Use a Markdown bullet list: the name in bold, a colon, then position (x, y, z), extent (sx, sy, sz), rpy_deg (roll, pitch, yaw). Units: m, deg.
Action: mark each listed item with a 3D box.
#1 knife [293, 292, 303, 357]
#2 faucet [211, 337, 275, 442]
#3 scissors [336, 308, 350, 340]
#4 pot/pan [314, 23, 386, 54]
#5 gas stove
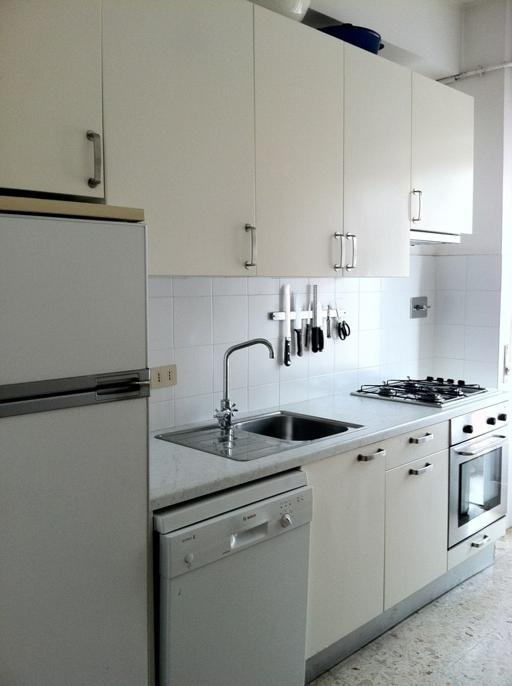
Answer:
- **knife**: position (0.195, -0.074, 2.477), extent (0.039, 0.273, 0.063), rpy_deg (11, 12, 41)
- **faucet**: position (-0.047, 0.148, 2.075), extent (0.200, 0.351, 0.604), rpy_deg (5, 11, 7)
- **scissors**: position (0.431, -0.083, 2.699), extent (0.044, 0.150, 0.073), rpy_deg (-15, -6, 44)
- **pot/pan**: position (0.399, -1.228, 2.227), extent (0.193, 0.103, 0.160), rpy_deg (14, 22, -2)
- **gas stove**: position (0.829, 0.234, 2.763), extent (0.689, 0.091, 0.506), rpy_deg (-5, 16, -43)
